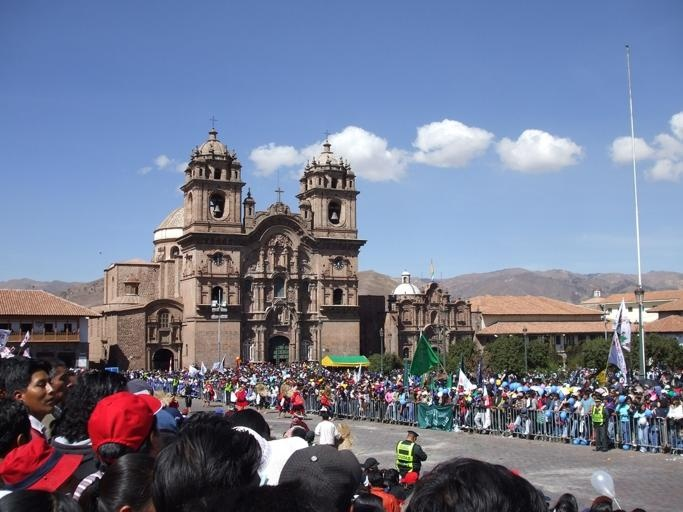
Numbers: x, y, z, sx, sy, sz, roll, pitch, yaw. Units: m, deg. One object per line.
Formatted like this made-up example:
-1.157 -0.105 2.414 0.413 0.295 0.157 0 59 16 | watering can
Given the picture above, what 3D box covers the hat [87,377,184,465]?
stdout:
-2.770 2.224 13.790 0.929 0.694 1.299 4 28 14 | hat
